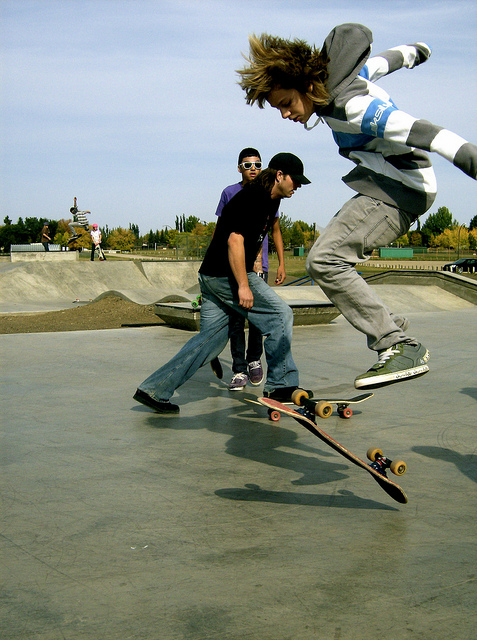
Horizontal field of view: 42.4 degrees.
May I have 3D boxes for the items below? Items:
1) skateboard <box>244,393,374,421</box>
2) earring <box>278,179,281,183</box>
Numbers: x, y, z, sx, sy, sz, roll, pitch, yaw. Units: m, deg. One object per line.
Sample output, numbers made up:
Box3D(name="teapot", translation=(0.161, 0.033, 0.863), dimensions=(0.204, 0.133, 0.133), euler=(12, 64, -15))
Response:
Box3D(name="skateboard", translation=(0.290, 0.502, 3.571), dimensions=(1.122, 0.161, 0.267), euler=(0, 1, -3))
Box3D(name="earring", translation=(0.246, -0.834, 3.681), dimensions=(0.014, 0.017, 0.006), euler=(3, 6, 25))
